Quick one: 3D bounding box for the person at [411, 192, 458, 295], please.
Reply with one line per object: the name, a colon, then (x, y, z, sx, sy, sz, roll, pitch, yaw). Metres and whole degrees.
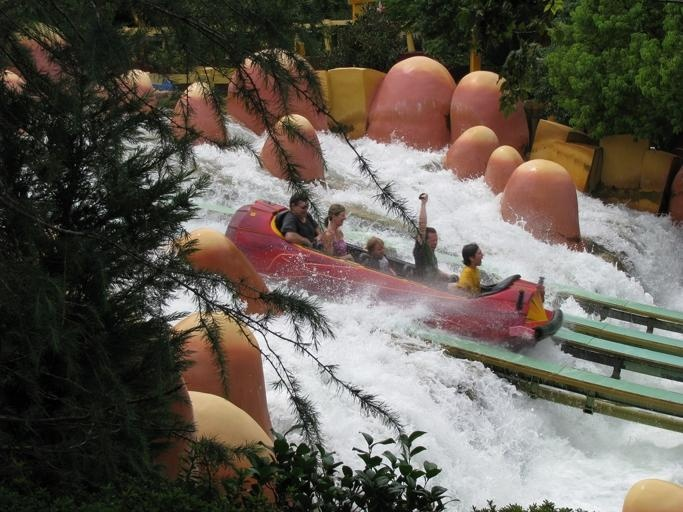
person: (1.128, -0.172, 10.527, 0.482, 0.994, 0.431, 3, -1, 8)

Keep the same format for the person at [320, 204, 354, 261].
person: (-0.010, -0.198, 10.761, 0.493, 0.824, 0.529, -3, 16, -1)
